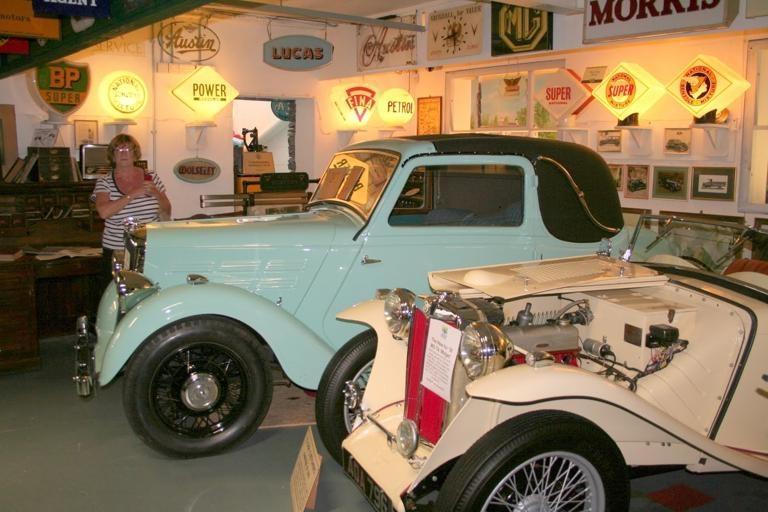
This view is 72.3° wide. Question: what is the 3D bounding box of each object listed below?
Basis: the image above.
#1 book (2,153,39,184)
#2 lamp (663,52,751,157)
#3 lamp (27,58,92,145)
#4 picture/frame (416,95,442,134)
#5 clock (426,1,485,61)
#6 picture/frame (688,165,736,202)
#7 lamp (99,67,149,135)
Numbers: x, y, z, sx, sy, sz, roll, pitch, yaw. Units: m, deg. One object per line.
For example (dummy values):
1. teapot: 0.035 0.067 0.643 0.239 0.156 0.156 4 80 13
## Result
1. book: -5.574 -1.349 8.029 0.470 0.433 0.403 6 10 25
2. lamp: 4.072 -1.890 6.482 0.913 1.028 0.795 13 11 -22
3. lamp: -5.208 -2.449 8.486 0.866 1.341 0.462 -5 11 -32
4. picture/frame: 0.925 -2.892 10.747 0.201 0.747 0.887 -4 11 -28
5. clock: 1.176 -3.731 8.840 0.108 0.876 1.291 -6 12 -36
6. picture/frame: 4.306 -0.955 6.859 0.049 0.413 0.497 -13 14 -43
7. lamp: -4.515 -2.660 9.206 0.787 1.119 0.454 -6 12 -36
